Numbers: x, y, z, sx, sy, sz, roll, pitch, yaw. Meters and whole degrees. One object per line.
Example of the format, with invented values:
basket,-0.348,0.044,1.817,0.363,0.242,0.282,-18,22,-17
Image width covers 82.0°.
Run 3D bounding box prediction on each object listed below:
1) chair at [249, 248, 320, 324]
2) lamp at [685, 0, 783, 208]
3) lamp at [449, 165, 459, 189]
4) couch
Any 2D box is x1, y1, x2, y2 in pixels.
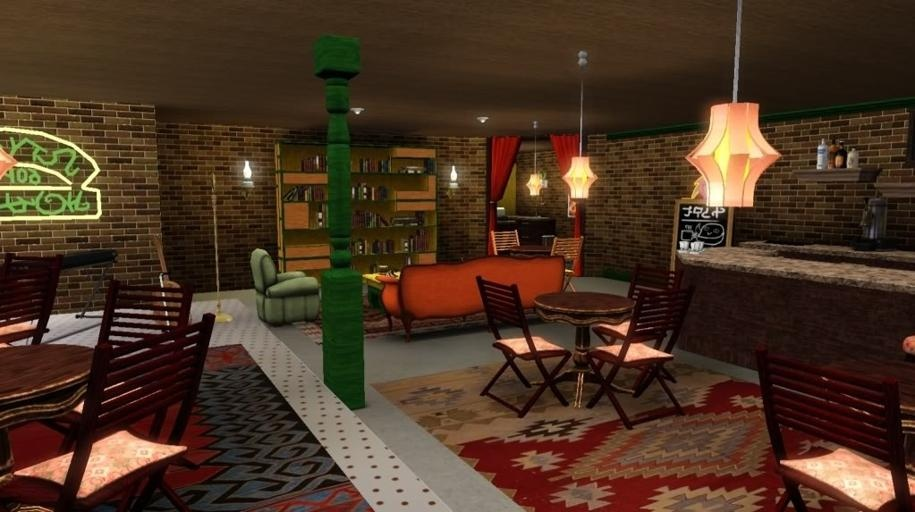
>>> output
chair,-2.936,0.515,8.913,1.067,0.818,1.236,0,8,-32
lamp,3.002,-1.572,5.602,0.724,2.055,2.498,3,9,30
lamp,-0.114,-1.947,12.886,0.218,0.570,0.332,-2,9,5
couch,0.147,0.533,8.896,3.735,1.090,1.148,-4,4,-39
